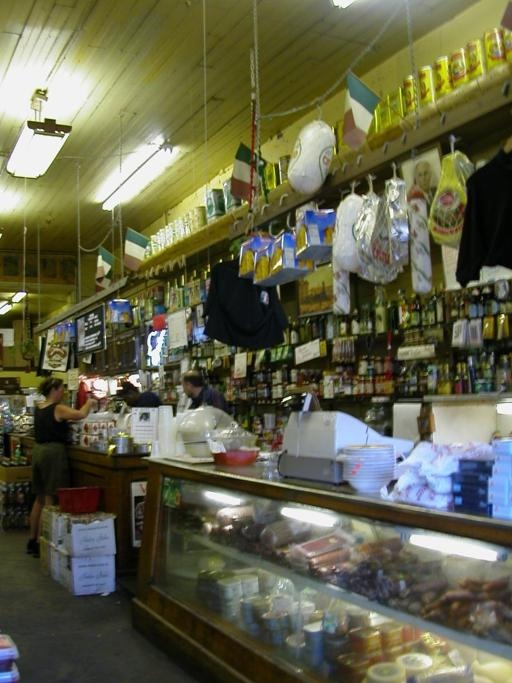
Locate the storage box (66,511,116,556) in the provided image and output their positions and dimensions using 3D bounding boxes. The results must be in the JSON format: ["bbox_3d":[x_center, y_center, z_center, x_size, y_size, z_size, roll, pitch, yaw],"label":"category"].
[{"bbox_3d":[-1.191,1.403,4.081,0.269,0.243,0.294,0,-1,-10],"label":"storage box"}]

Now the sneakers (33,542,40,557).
[{"bbox_3d":[-2.067,2.023,5.217,0.047,0.104,0.139,3,1,-6],"label":"sneakers"}]

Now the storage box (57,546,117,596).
[{"bbox_3d":[-1.241,1.726,4.054,0.308,0.230,0.334,1,-2,-14],"label":"storage box"}]

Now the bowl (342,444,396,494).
[{"bbox_3d":[0.332,0.384,1.651,0.140,0.117,0.131,-1,1,0],"label":"bowl"}]

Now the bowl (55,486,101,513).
[{"bbox_3d":[-1.381,1.265,4.372,0.251,0.184,0.210,4,-11,-15],"label":"bowl"}]

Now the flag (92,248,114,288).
[{"bbox_3d":[-1.856,-0.933,6.786,0.181,0.535,0.436,-1,-3,-15],"label":"flag"}]

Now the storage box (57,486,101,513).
[{"bbox_3d":[-1.380,1.278,4.336,0.245,0.158,0.216,5,-13,-15],"label":"storage box"}]
